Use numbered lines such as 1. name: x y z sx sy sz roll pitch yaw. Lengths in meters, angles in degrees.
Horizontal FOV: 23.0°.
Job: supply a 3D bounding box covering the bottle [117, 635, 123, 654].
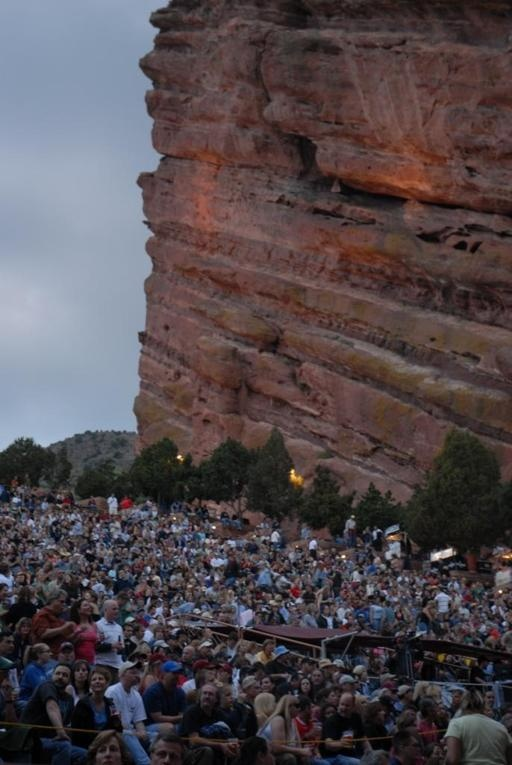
1. bottle: -2.008 3.867 18.530 0.104 0.303 0.226 2 -14 1
